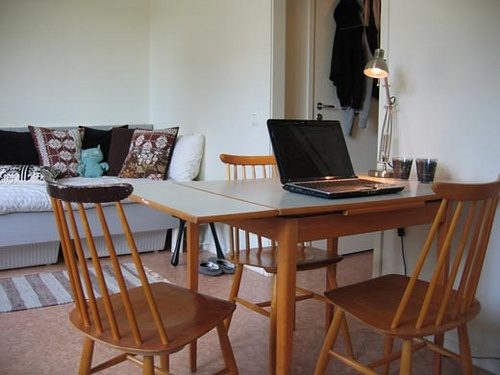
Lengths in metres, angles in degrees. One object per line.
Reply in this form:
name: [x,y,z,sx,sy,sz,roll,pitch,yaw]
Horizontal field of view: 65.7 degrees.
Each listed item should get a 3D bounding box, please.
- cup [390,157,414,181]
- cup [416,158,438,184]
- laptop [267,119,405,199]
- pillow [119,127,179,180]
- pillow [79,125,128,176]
cup: [0.794,-0.105,2.059,0.101,0.108,0.109,0,0,0]
cup: [0.871,-0.085,1.916,0.112,0.134,0.116,-1,-1,0]
laptop: [0.367,-0.129,1.644,0.450,0.309,0.424,-4,8,-36]
pillow: [-0.913,-0.300,3.629,0.502,0.490,0.154,-2,-21,33]
pillow: [-1.419,-0.345,3.754,0.437,0.497,0.189,3,-19,-30]
